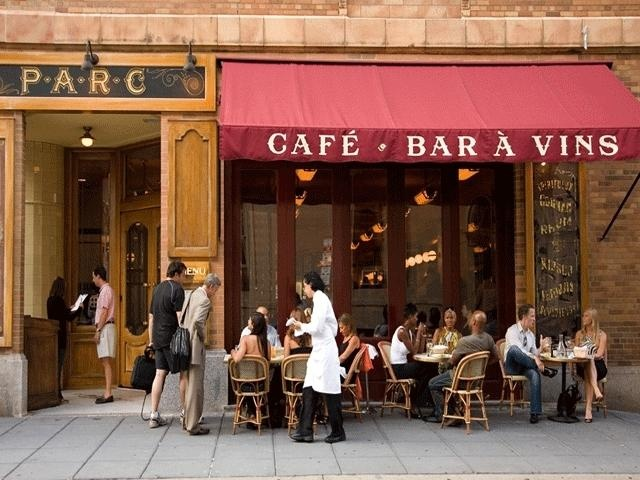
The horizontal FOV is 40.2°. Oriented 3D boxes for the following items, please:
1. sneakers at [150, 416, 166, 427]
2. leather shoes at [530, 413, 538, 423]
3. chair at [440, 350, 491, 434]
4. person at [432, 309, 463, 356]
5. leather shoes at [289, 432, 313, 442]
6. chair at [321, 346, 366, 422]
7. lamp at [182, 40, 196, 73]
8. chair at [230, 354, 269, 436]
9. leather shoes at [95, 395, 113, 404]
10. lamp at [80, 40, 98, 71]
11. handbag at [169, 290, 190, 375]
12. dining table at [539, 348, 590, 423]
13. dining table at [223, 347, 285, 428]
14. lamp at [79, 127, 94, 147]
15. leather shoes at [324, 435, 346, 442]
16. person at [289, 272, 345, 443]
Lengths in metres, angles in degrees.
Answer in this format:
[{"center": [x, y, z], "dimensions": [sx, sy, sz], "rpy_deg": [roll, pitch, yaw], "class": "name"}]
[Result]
[{"center": [-2.684, 2.992, 14.399], "dimensions": [0.122, 0.156, 0.319], "rpy_deg": [2, 2, 23], "class": "sneakers"}, {"center": [3.578, 3.011, 14.717], "dimensions": [0.088, 0.120, 0.260], "rpy_deg": [-2, -12, 11], "class": "leather shoes"}, {"center": [2.391, 2.449, 14.386], "dimensions": [0.881, 1.325, 0.880], "rpy_deg": [5, 8, 40], "class": "chair"}, {"center": [2.236, 1.667, 15.511], "dimensions": [0.525, 0.960, 0.333], "rpy_deg": [-3, -36, 20], "class": "person"}, {"center": [-0.305, 3.070, 13.494], "dimensions": [0.334, 0.184, 0.137], "rpy_deg": [8, -1, 7], "class": "leather shoes"}, {"center": [0.520, 2.483, 15.259], "dimensions": [1.008, 1.670, 0.989], "rpy_deg": [1, -3, -6], "class": "chair"}, {"center": [-2.329, -3.290, 15.570], "dimensions": [0.227, 0.554, 0.411], "rpy_deg": [1, 6, 6], "class": "lamp"}, {"center": [-1.145, 2.469, 14.089], "dimensions": [0.645, 1.312, 0.621], "rpy_deg": [-1, 6, -5], "class": "chair"}, {"center": [-3.942, 2.906, 15.936], "dimensions": [0.243, 0.101, 0.135], "rpy_deg": [6, -6, -22], "class": "leather shoes"}, {"center": [-4.065, -3.279, 15.413], "dimensions": [0.283, 0.545, 0.392], "rpy_deg": [0, 6, -4], "class": "lamp"}, {"center": [-2.228, 1.545, 13.895], "dimensions": [0.317, 1.144, 0.363], "rpy_deg": [-1, 6, -10], "class": "handbag"}, {"center": [4.247, 2.527, 15.293], "dimensions": [0.939, 1.234, 1.037], "rpy_deg": [-1, -1, 17], "class": "dining table"}, {"center": [-1.044, 2.472, 14.115], "dimensions": [0.978, 1.629, 1.130], "rpy_deg": [-1, -1, 2], "class": "dining table"}, {"center": [-4.600, -2.001, 16.974], "dimensions": [0.315, 0.454, 0.340], "rpy_deg": [0, -6, 1], "class": "lamp"}, {"center": [0.221, 3.074, 13.522], "dimensions": [0.289, 0.129, 0.113], "rpy_deg": [4, -4, -13], "class": "leather shoes"}, {"center": [-0.081, 1.840, 13.753], "dimensions": [0.835, 2.626, 0.845], "rpy_deg": [10, -14, -43], "class": "person"}]
